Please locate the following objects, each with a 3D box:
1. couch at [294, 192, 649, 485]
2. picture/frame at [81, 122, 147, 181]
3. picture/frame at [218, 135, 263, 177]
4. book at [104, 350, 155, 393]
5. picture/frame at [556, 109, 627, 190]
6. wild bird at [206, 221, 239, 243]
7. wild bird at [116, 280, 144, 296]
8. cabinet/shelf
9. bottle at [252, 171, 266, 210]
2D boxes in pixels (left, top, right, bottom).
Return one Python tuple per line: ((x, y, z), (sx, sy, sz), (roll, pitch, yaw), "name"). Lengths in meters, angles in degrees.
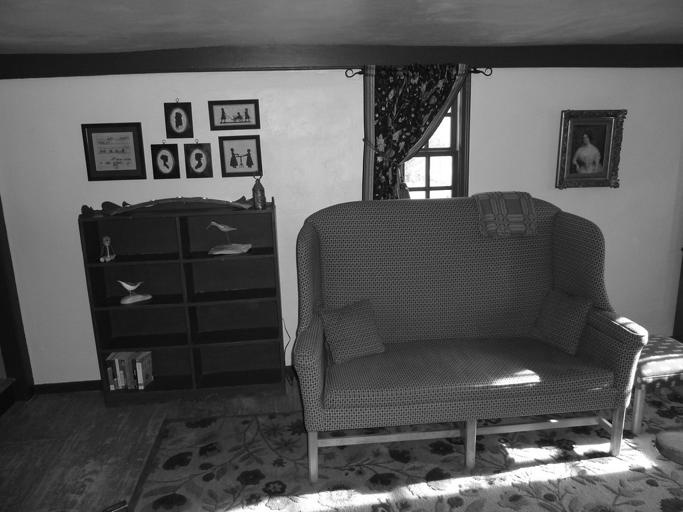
((0.903, 0.580, 4.452), (2.620, 1.822, 1.400), (-3, 18, -8), "couch")
((-2.134, -0.991, 4.972), (0.562, 0.539, 0.043), (-1, 17, -3), "picture/frame")
((-0.976, -0.964, 5.077), (0.403, 0.369, 0.029), (-3, 19, -5), "picture/frame")
((-1.949, 1.024, 5.074), (0.346, 0.447, 0.457), (0, 5, 5), "book")
((2.444, -1.084, 5.335), (0.812, 0.895, 0.079), (-1, 15, -3), "picture/frame")
((-1.135, -0.235, 5.043), (0.279, 0.149, 0.174), (12, 16, 11), "wild bird")
((-1.972, 0.282, 5.028), (0.236, 0.153, 0.124), (1, 17, -13), "wild bird")
((-1.531, 0.378, 5.028), (1.906, 1.905, 0.501), (-3, 12, -6), "cabinet/shelf")
((-0.754, -0.556, 4.860), (0.104, 0.265, 0.175), (-9, 15, -22), "bottle")
